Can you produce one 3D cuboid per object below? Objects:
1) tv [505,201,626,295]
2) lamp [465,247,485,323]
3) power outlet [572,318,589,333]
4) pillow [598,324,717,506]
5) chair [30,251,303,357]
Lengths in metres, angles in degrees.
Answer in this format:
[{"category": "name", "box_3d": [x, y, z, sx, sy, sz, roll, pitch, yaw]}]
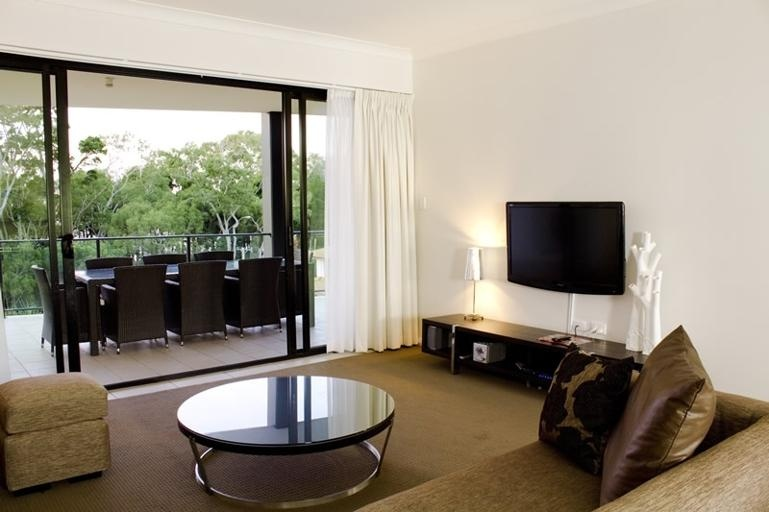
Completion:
[{"category": "tv", "box_3d": [1.774, -0.090, 5.297, 0.077, 0.697, 0.963, -4, 4, -43]}, {"category": "lamp", "box_3d": [0.984, 0.293, 6.064, 0.203, 0.768, 0.519, 2, 10, 8]}, {"category": "power outlet", "box_3d": [1.903, 0.694, 5.374, 0.087, 0.138, 0.194, -8, 13, -38]}, {"category": "pillow", "box_3d": [1.432, 0.845, 2.878, 0.336, 0.576, 0.638, 15, 44, 29]}, {"category": "chair", "box_3d": [-2.476, 0.550, 6.985, 2.473, 1.084, 0.771, -5, 11, -29]}]
